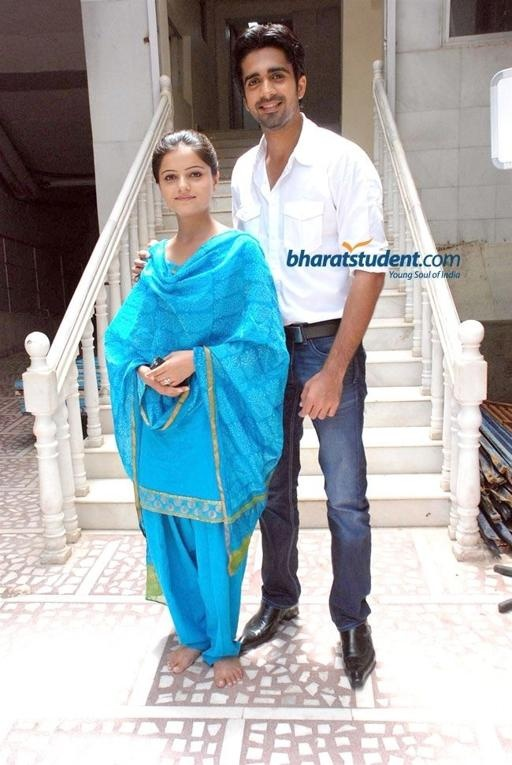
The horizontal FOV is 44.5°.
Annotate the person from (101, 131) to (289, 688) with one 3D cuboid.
[{"bbox_3d":[-0.167,0.097,1.733,0.513,1.520,0.274,-3,10,0],"label":"person"}]

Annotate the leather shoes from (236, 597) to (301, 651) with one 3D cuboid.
[{"bbox_3d":[0.029,0.761,2.037,0.080,0.109,0.259,4,10,36],"label":"leather shoes"}]

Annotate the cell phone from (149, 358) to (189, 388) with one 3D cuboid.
[{"bbox_3d":[-0.224,-0.025,1.607,0.096,0.079,0.055,-5,10,-10],"label":"cell phone"}]

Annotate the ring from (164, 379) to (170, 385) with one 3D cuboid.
[{"bbox_3d":[-0.227,-0.001,1.589,0.014,0.012,0.003,0,9,14],"label":"ring"}]

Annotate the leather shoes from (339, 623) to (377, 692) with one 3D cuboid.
[{"bbox_3d":[0.289,0.778,1.782,0.064,0.076,0.183,-8,11,8],"label":"leather shoes"}]
